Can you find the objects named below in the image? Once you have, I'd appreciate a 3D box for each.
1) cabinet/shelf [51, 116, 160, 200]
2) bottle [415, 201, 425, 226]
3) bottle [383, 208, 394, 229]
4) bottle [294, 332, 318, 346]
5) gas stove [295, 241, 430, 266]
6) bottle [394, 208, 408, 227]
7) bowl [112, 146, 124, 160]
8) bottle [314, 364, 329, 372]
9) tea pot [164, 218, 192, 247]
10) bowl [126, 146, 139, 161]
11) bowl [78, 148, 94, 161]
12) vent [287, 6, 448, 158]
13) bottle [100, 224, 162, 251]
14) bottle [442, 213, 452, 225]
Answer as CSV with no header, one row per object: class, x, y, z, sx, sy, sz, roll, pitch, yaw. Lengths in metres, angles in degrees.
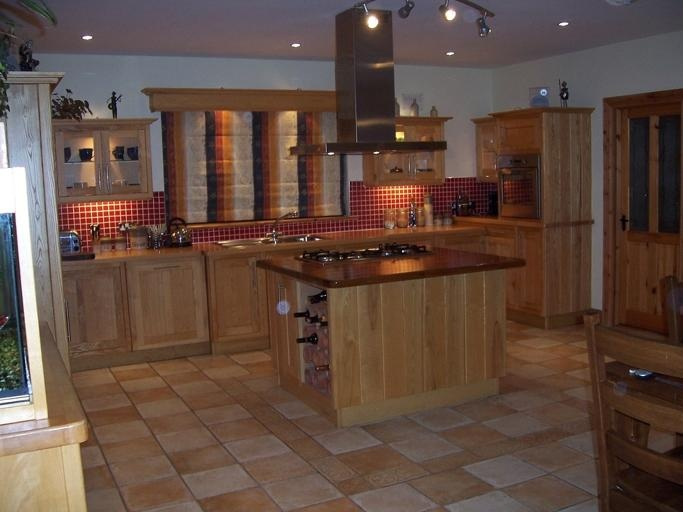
cabinet/shelf,-2.359,-0.959,5.589,1.213,0.852,0.329,-3,6,-24
bottle,1.010,-0.504,7.302,0.111,0.230,0.119,-3,11,1
bottle,0.605,-0.478,7.205,0.136,0.241,0.269,-1,10,8
bottle,-0.259,0.619,4.269,0.161,0.083,0.148,2,14,0
gas stove,0.207,-0.032,4.880,1.135,0.060,0.479,-6,11,-26
bottle,0.772,-0.493,7.272,0.148,0.235,0.212,-1,10,6
bowl,-2.233,-1.030,5.699,0.157,0.125,0.094,-1,10,-11
bottle,-0.141,0.831,4.159,0.070,0.027,0.097,5,7,43
tea pot,-1.755,-0.253,6.084,0.313,0.310,0.350,-1,1,-14
bowl,-2.112,-1.038,5.757,0.138,0.096,0.141,0,2,0
bowl,-2.508,-0.995,5.576,0.128,0.096,0.135,-2,-3,0
vent,0.162,-1.464,4.807,1.003,1.151,0.494,-1,11,7
bottle,-2.180,-0.189,5.915,0.522,0.152,0.272,0,6,-9
bottle,1.361,-0.463,7.304,0.145,0.134,0.140,-4,6,-36
